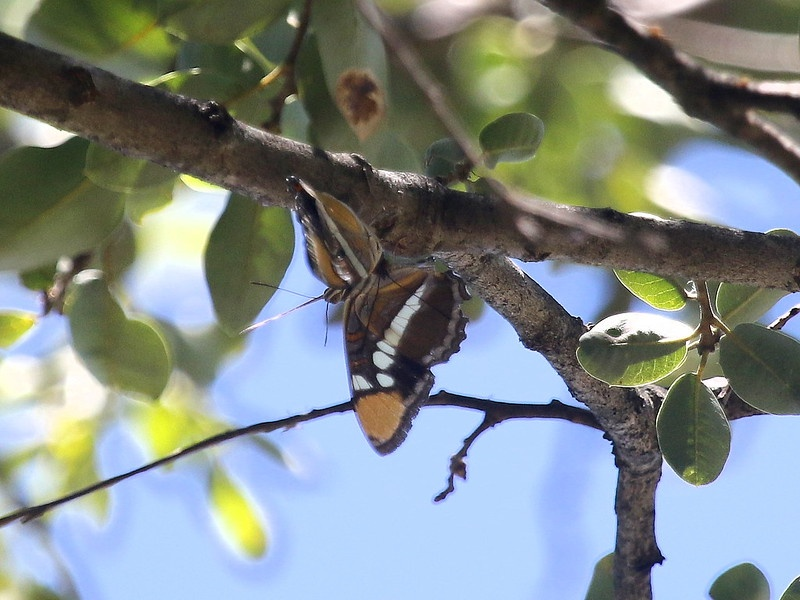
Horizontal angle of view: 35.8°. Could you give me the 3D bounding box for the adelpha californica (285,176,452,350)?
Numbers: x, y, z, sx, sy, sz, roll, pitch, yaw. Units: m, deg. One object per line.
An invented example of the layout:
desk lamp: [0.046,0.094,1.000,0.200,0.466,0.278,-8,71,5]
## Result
adelpha californica: [-0.021,-0.039,1.018,0.096,0.097,0.157,-27,-6,-12]
